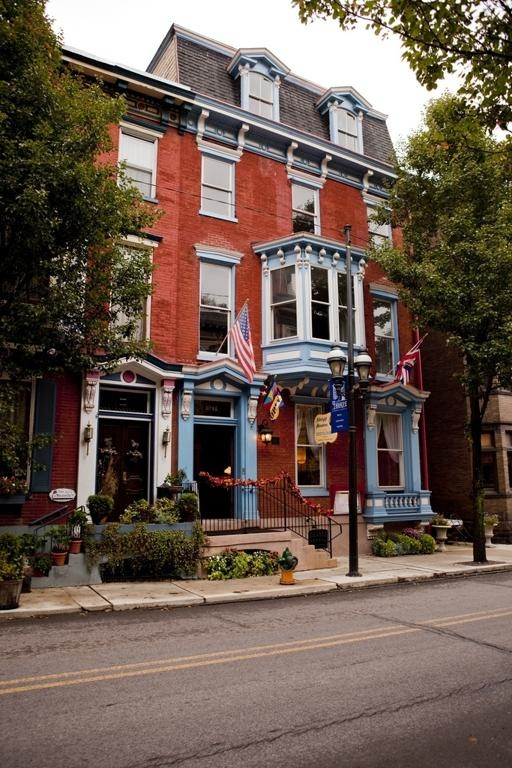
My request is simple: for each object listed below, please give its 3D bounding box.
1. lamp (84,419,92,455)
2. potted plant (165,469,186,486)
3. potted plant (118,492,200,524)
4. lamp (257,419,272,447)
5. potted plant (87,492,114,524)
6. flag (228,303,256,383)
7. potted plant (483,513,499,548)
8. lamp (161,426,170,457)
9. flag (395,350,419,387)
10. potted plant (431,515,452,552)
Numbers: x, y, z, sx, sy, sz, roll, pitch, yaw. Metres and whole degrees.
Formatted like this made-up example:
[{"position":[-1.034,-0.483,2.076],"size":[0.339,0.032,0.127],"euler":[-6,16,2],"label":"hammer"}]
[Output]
[{"position":[-3.651,1.186,13.355],"size":[0.216,0.687,0.134],"euler":[8,-12,-44],"label":"lamp"},{"position":[-1.838,2.127,13.985],"size":[0.376,0.275,0.376],"euler":[-2,-7,-7],"label":"potted plant"},{"position":[-1.950,2.564,12.615],"size":[1.545,0.602,0.926],"euler":[2,-9,-15],"label":"potted plant"},{"position":[0.239,1.295,16.474],"size":[0.363,0.684,0.446],"euler":[0,-8,2],"label":"lamp"},{"position":[-3.086,2.454,12.095],"size":[0.541,0.614,0.551],"euler":[3,-18,-15],"label":"potted plant"},{"position":[-0.311,-1.099,14.773],"size":[0.509,1.911,0.960],"euler":[0,-8,-2],"label":"flag"},{"position":[8.094,4.999,20.988],"size":[0.426,0.998,1.640],"euler":[-3,-9,21],"label":"potted plant"},{"position":[-2.130,1.372,14.552],"size":[0.198,0.697,0.102],"euler":[5,-10,-30],"label":"lamp"},{"position":[4.541,-0.491,18.627],"size":[0.598,0.915,1.254],"euler":[-2,-9,13],"label":"flag"},{"position":[6.006,4.786,19.891],"size":[0.573,1.077,1.610],"euler":[-3,-9,17],"label":"potted plant"}]
